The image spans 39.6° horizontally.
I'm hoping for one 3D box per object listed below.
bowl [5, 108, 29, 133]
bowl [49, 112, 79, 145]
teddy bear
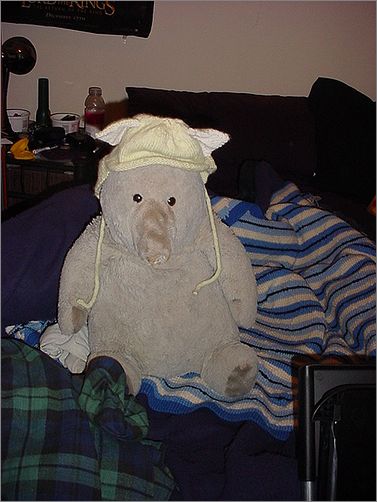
[{"bbox_3d":[-0.636,-0.490,2.019,0.100,0.070,0.096,5,32,-3],"label":"bowl"},{"bbox_3d":[-0.474,-0.478,2.030,0.102,0.076,0.107,4,28,-2],"label":"bowl"},{"bbox_3d":[-0.060,0.015,0.983,0.410,0.495,0.348,1,28,2],"label":"teddy bear"}]
